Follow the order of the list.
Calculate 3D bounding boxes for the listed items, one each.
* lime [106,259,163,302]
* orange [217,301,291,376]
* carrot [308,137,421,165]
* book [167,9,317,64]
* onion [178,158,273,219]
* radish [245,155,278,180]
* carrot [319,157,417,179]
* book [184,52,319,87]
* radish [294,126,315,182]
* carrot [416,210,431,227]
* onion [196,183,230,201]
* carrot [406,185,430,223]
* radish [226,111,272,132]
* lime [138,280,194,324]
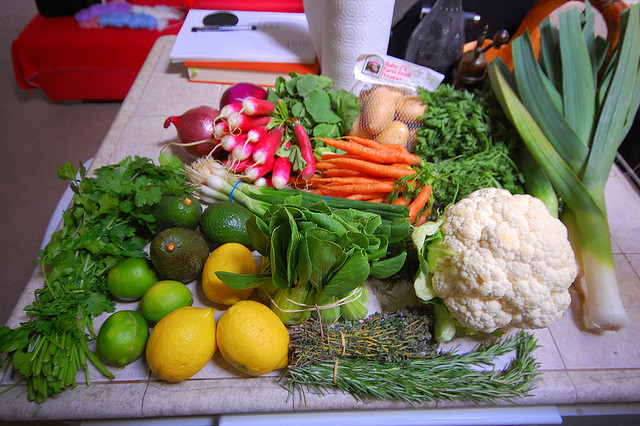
[{"bbox_3d":[-0.639,0.223,1.625,0.153,0.125,0.124,9,47,15],"label":"lime"},{"bbox_3d":[-0.216,0.411,1.573,0.232,0.160,0.206,0,58,-2],"label":"orange"},{"bbox_3d":[0.180,-0.239,1.861,0.447,0.070,0.068,11,32,-13],"label":"carrot"},{"bbox_3d":[-0.340,-0.844,2.256,0.651,0.067,0.376,1,58,-2],"label":"book"},{"bbox_3d":[-0.342,-0.102,1.878,0.235,0.220,0.320,22,37,32],"label":"onion"},{"bbox_3d":[-0.235,-0.164,1.872,0.131,0.060,0.057,-32,41,6],"label":"radish"},{"bbox_3d":[0.200,-0.176,1.865,0.229,0.034,0.036,12,58,11],"label":"carrot"},{"bbox_3d":[-0.308,-0.639,2.207,0.607,0.106,0.093,-2,58,-4],"label":"book"},{"bbox_3d":[-0.064,-0.229,1.927,0.058,0.063,0.223,5,76,-38],"label":"radish"},{"bbox_3d":[0.376,0.020,1.780,0.019,0.015,0.070,43,73,-10],"label":"carrot"},{"bbox_3d":[-0.413,-0.076,1.868,0.082,0.068,0.028,28,27,-7],"label":"onion"},{"bbox_3d":[0.363,-0.035,1.789,0.036,0.041,0.152,44,68,-15],"label":"carrot"},{"bbox_3d":[-0.279,-0.361,1.884,0.155,0.064,0.063,-4,21,-5],"label":"radish"},{"bbox_3d":[-0.513,0.301,1.593,0.129,0.083,0.174,-6,27,-10],"label":"lime"}]
